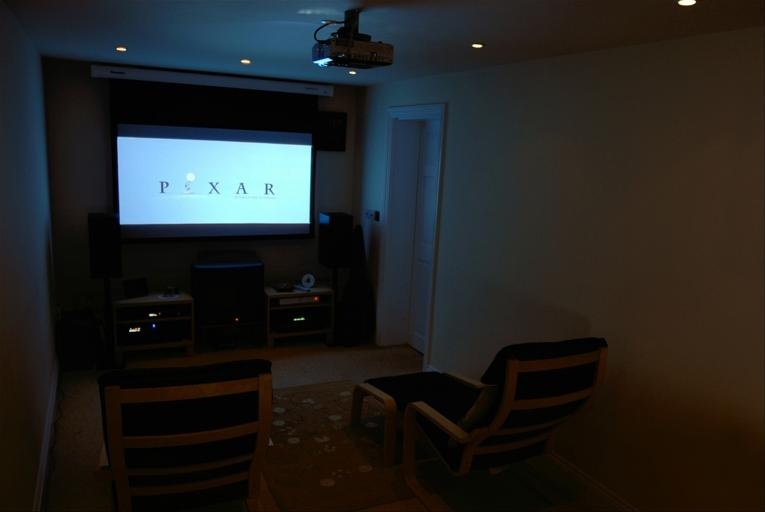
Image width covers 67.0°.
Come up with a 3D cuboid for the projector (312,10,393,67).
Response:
[{"bbox_3d":[-0.208,-1.514,4.073,0.482,0.311,0.331,-6,16,-25],"label":"projector"}]

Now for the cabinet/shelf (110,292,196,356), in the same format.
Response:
[{"bbox_3d":[-2.370,0.564,5.987,1.003,0.701,0.531,-3,4,-32],"label":"cabinet/shelf"}]

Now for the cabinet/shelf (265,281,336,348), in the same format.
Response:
[{"bbox_3d":[-0.916,0.606,6.400,0.873,0.621,0.575,-1,2,-23],"label":"cabinet/shelf"}]

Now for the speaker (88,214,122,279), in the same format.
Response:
[{"bbox_3d":[-2.624,-0.092,5.479,0.266,0.601,0.196,-4,8,-21],"label":"speaker"}]

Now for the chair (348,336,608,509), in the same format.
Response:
[{"bbox_3d":[0.562,0.963,4.324,1.012,1.115,1.686,-2,8,-22],"label":"chair"}]

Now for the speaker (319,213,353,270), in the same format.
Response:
[{"bbox_3d":[-0.547,-0.175,6.454,0.455,0.600,0.269,5,10,38],"label":"speaker"}]

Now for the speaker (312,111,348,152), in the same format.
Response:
[{"bbox_3d":[-0.603,-1.431,6.673,0.365,0.448,0.124,-2,8,-14],"label":"speaker"}]
